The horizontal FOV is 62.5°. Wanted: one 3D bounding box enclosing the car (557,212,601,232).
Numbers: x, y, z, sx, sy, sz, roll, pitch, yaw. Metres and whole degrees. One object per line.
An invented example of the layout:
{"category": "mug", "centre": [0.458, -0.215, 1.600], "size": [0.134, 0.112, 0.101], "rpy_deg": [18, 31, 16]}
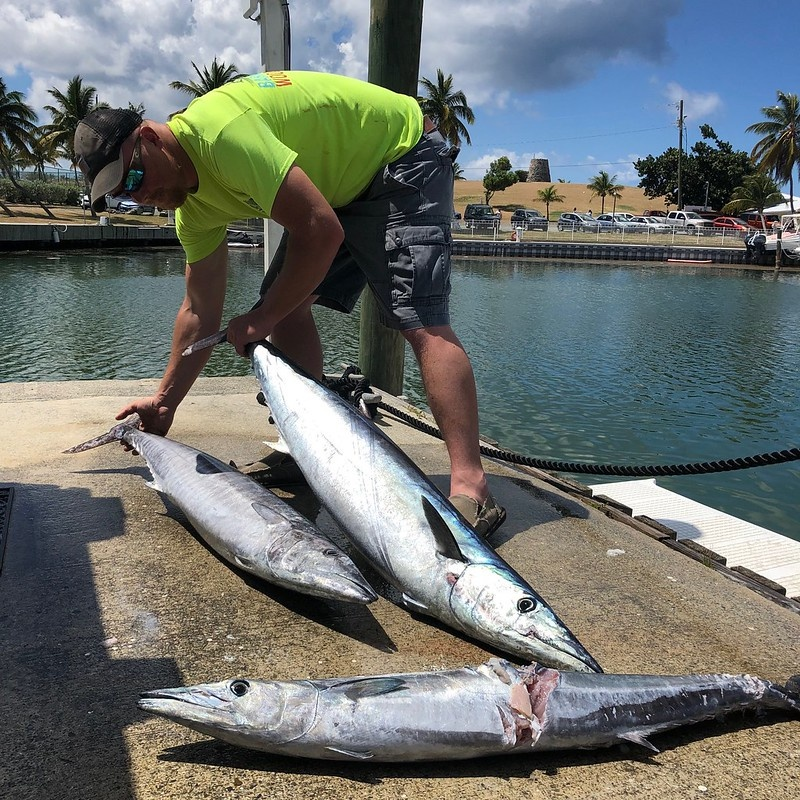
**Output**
{"category": "car", "centre": [12.800, -12.650, 46.945], "size": [2.747, 1.600, 5.673], "rpy_deg": [4, 12, 10]}

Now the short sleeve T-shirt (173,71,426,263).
{"category": "short sleeve T-shirt", "centre": [-0.406, -0.878, 2.311], "size": [0.949, 0.534, 0.714], "rpy_deg": [1, 13, -1]}

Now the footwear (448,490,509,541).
{"category": "footwear", "centre": [0.276, 0.402, 2.332], "size": [0.105, 0.107, 0.280], "rpy_deg": [-22, -4, 34]}

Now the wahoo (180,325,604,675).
{"category": "wahoo", "centre": [-0.084, 0.285, 2.115], "size": [0.393, 0.300, 1.583], "rpy_deg": [-33, 55, -32]}

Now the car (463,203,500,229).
{"category": "car", "centre": [5.730, -13.061, 46.844], "size": [2.060, 1.635, 3.268], "rpy_deg": [-7, 22, -13]}

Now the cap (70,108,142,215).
{"category": "cap", "centre": [-0.925, -0.779, 2.096], "size": [0.211, 0.347, 0.362], "rpy_deg": [-4, 14, -23]}

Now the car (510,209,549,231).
{"category": "car", "centre": [9.423, -13.091, 47.677], "size": [2.520, 1.705, 5.875], "rpy_deg": [4, 12, 8]}

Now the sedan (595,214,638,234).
{"category": "sedan", "centre": [15.667, -12.713, 47.353], "size": [2.460, 1.663, 7.932], "rpy_deg": [5, 12, 14]}

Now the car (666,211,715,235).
{"category": "car", "centre": [20.012, -12.259, 45.458], "size": [2.986, 1.899, 7.574], "rpy_deg": [6, 13, 20]}

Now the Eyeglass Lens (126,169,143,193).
{"category": "Eyeglass Lens", "centre": [-0.846, -0.704, 2.114], "size": [0.055, 0.063, 0.024], "rpy_deg": [1, 32, -21]}
